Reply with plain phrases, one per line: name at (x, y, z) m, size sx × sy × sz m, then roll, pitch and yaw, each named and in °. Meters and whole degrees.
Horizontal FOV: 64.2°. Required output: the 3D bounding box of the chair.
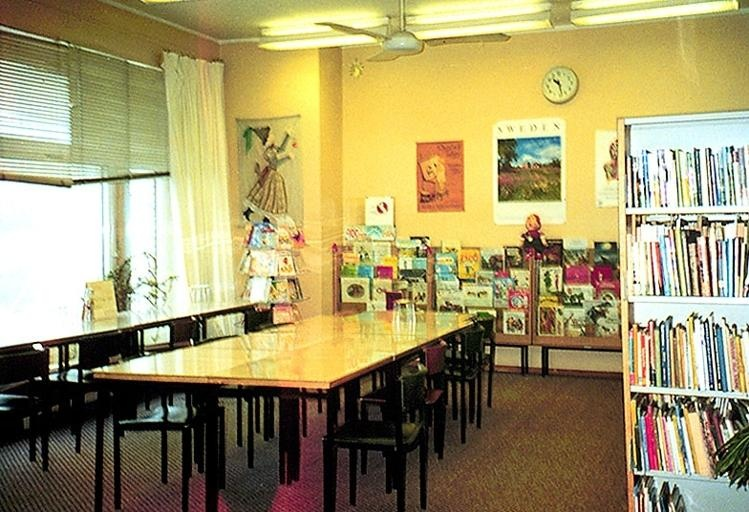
chair at (-0.488, 1.261, 4.893) m, size 1.861 × 1.099 × 3.030 m, roll 2°, pitch 5°, yaw 42°

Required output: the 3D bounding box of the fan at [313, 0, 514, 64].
fan at (0.471, -2.476, 6.540) m, size 1.176 × 0.457 × 1.091 m, roll 3°, pitch 3°, yaw 4°

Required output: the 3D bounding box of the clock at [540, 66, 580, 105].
clock at (2.317, -2.210, 7.572) m, size 0.101 × 0.433 × 0.427 m, roll -5°, pitch 36°, yaw -46°

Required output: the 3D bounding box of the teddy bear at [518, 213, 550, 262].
teddy bear at (2.059, -0.237, 7.730) m, size 0.279 × 0.568 × 0.227 m, roll -2°, pitch 2°, yaw 11°
